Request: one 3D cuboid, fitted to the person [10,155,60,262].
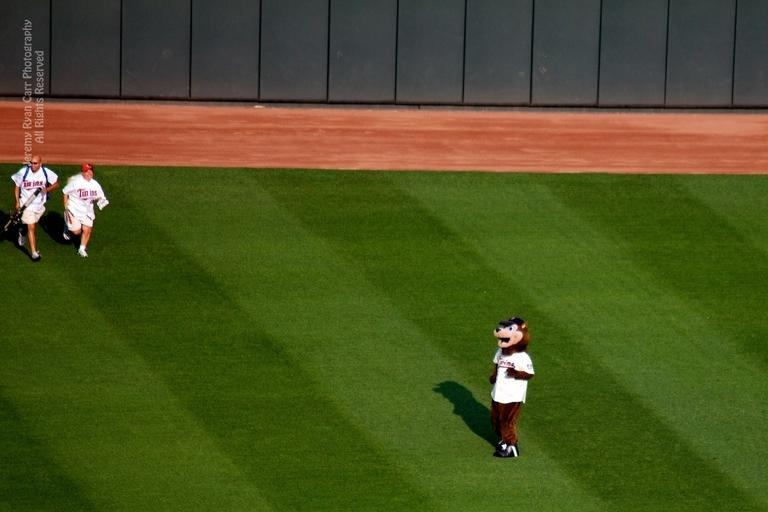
[{"bbox_3d":[-7.697,-1.177,41.946,0.909,2.112,1.123,0,3,-4],"label":"person"}]
